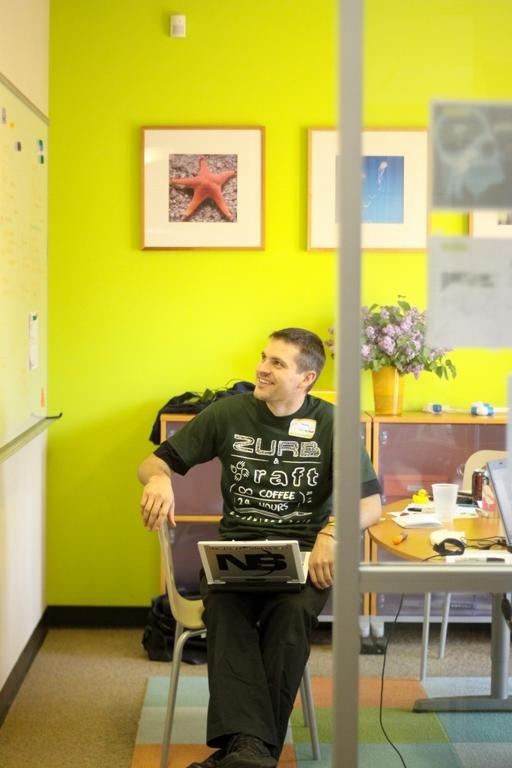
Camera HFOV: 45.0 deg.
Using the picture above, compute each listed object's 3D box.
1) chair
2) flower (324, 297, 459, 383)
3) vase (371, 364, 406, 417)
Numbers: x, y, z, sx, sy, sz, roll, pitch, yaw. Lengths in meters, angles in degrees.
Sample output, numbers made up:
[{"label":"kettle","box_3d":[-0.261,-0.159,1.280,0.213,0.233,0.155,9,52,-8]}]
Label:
[{"label":"chair","box_3d":[-0.012,0.742,1.677,0.456,0.786,0.519,0,1,-2]},{"label":"flower","box_3d":[0.213,-0.060,0.913,0.127,0.106,0.257,-1,0,5]},{"label":"vase","box_3d":[0.214,0.009,1.063,0.073,0.109,0.085,-2,1,10]}]
